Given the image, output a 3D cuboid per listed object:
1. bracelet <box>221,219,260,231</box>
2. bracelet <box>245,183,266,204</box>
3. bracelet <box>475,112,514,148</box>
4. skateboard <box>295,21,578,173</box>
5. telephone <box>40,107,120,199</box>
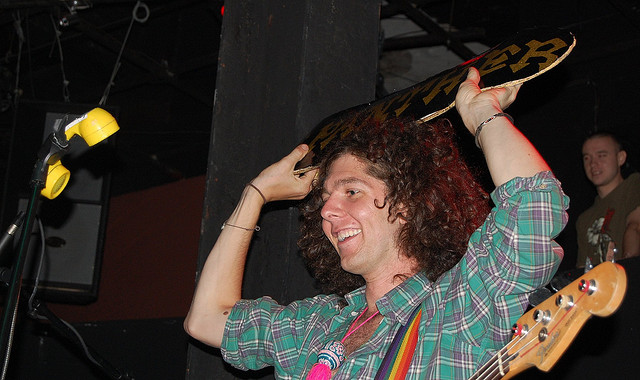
[{"bbox_3d":[-0.504,0.215,3.234,0.256,0.080,0.138,-2,-10,3],"label":"bracelet"},{"bbox_3d":[-0.398,0.005,3.237,0.077,0.137,0.029,-40,-18,25],"label":"bracelet"},{"bbox_3d":[0.846,-0.308,2.555,0.186,0.151,0.046,-48,-7,15],"label":"bracelet"},{"bbox_3d":[0.512,-0.504,2.980,0.188,0.382,1.825,44,-38,-22],"label":"skateboard"},{"bbox_3d":[-1.438,-0.247,3.087,0.404,0.546,0.256,-6,-11,29],"label":"telephone"}]
